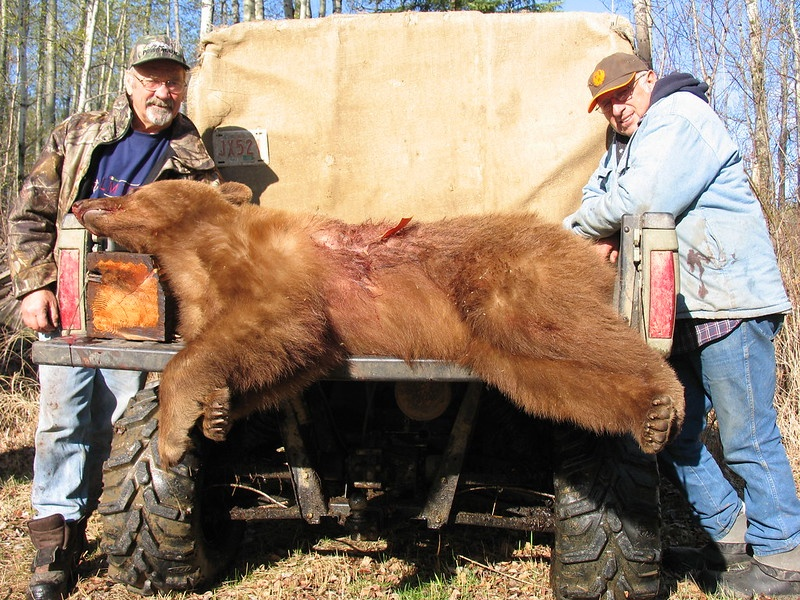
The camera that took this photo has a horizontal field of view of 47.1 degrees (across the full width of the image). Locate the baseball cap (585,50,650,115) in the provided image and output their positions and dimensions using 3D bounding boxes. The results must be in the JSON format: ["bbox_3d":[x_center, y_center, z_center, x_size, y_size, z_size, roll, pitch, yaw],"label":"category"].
[{"bbox_3d":[1.594,-1.678,6.893,0.630,0.296,0.422,-26,-4,-44],"label":"baseball cap"}]

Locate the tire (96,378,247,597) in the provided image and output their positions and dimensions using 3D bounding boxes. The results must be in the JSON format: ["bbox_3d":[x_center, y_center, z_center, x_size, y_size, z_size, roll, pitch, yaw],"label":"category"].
[{"bbox_3d":[-1.526,1.321,6.281,0.645,1.569,1.578,-1,2,12],"label":"tire"}]
